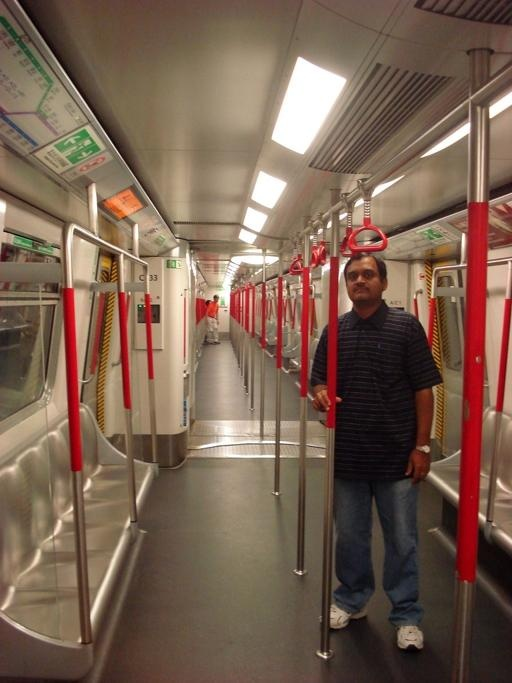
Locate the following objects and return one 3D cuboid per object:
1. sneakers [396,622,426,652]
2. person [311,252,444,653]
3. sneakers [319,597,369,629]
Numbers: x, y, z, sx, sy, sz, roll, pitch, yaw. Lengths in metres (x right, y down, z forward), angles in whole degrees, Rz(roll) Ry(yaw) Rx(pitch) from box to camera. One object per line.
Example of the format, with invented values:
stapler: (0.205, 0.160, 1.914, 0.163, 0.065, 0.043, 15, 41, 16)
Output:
sneakers: (0.788, 1.529, 2.299, 0.086, 0.064, 0.153, 0, -13, 4)
person: (0.590, 0.571, 2.416, 0.725, 2.064, 0.593, 0, 2, 32)
sneakers: (0.491, 1.529, 2.588, 0.370, 0.182, 0.148, 16, -12, -29)
